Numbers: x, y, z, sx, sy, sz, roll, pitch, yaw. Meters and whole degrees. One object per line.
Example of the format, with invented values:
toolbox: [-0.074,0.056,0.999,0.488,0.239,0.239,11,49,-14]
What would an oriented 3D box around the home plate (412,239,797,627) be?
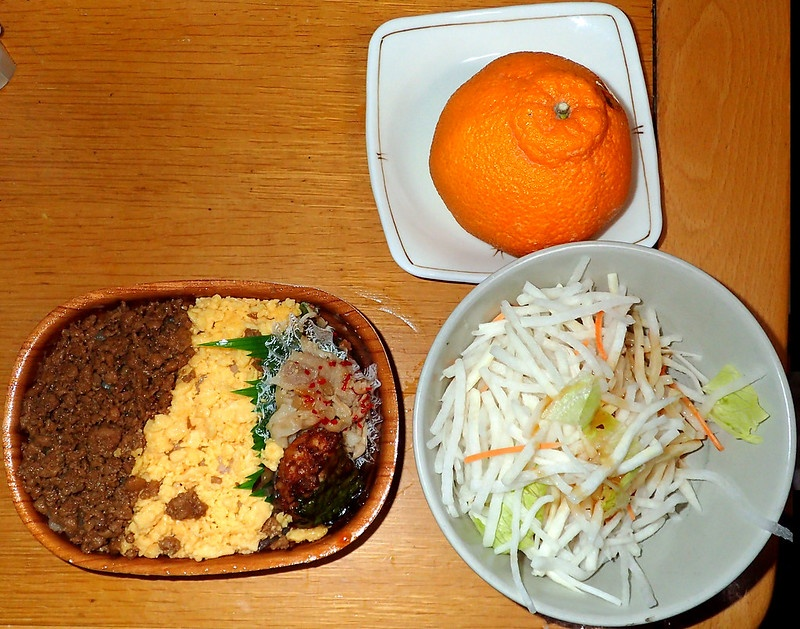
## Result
home plate: [0.400,0.249,1.541,0.671,0.262,0.716,35,89,4]

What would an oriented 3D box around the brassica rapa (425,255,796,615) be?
brassica rapa: [0.372,0.247,1.393,0.628,0.291,0.754,2,96,0]

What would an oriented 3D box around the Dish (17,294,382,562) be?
Dish: [-0.444,0.237,1.778,0.675,0.224,0.587,-1,87,2]
